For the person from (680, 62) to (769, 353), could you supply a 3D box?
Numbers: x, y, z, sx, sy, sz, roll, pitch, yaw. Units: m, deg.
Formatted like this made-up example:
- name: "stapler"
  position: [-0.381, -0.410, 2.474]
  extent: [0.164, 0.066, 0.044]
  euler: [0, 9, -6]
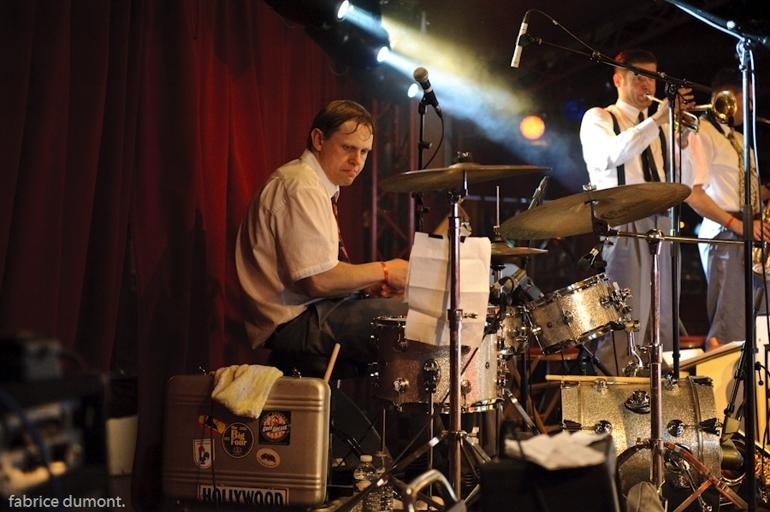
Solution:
- name: "person"
  position: [2.583, -0.324, 6.394]
  extent: [0.663, 2.197, 0.725]
  euler: [6, 12, 29]

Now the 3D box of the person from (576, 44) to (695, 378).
- name: "person"
  position: [1.990, -0.279, 6.045]
  extent: [0.785, 2.253, 0.803]
  euler: [3, 20, 45]

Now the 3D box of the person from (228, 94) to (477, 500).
- name: "person"
  position: [-0.158, 0.098, 5.305]
  extent: [1.027, 2.508, 1.121]
  euler: [0, -1, 23]

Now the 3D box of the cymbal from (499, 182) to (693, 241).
- name: "cymbal"
  position: [1.222, -0.229, 4.935]
  extent: [1.100, 0.250, 0.582]
  euler: [-3, -10, 11]

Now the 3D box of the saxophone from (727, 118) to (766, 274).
- name: "saxophone"
  position: [2.491, -0.385, 5.787]
  extent: [0.273, 1.223, 0.362]
  euler: [8, 15, 28]

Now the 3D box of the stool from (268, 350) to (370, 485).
- name: "stool"
  position: [-0.373, 0.939, 5.074]
  extent: [0.743, 0.864, 0.550]
  euler: [0, 8, -1]

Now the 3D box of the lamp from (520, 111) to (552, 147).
- name: "lamp"
  position: [1.893, -1.596, 10.566]
  extent: [0.481, 0.362, 0.128]
  euler: [8, -12, -41]

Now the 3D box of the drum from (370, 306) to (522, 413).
- name: "drum"
  position: [0.302, 0.586, 4.924]
  extent: [0.771, 0.494, 0.789]
  euler: [-1, 1, 0]

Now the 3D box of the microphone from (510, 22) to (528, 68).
- name: "microphone"
  position: [0.891, -1.381, 5.457]
  extent: [0.063, 0.300, 0.300]
  euler: [12, 12, 0]

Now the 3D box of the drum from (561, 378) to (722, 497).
- name: "drum"
  position: [1.529, 1.049, 5.133]
  extent: [0.659, 0.778, 0.789]
  euler: [2, -15, 1]

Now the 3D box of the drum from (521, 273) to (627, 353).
- name: "drum"
  position: [1.183, 0.336, 5.077]
  extent: [0.629, 0.451, 0.184]
  euler: [-3, -10, 16]

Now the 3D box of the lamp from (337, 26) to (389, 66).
- name: "lamp"
  position: [-0.199, -1.734, 6.624]
  extent: [0.441, 0.272, 0.265]
  euler: [12, -47, -35]

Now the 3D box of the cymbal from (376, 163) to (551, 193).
- name: "cymbal"
  position: [0.433, -0.406, 4.735]
  extent: [0.537, 0.195, 1.000]
  euler: [-4, 6, -43]

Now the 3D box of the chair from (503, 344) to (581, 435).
- name: "chair"
  position: [1.204, 1.004, 6.404]
  extent: [0.708, 0.909, 0.497]
  euler: [2, 8, 7]
